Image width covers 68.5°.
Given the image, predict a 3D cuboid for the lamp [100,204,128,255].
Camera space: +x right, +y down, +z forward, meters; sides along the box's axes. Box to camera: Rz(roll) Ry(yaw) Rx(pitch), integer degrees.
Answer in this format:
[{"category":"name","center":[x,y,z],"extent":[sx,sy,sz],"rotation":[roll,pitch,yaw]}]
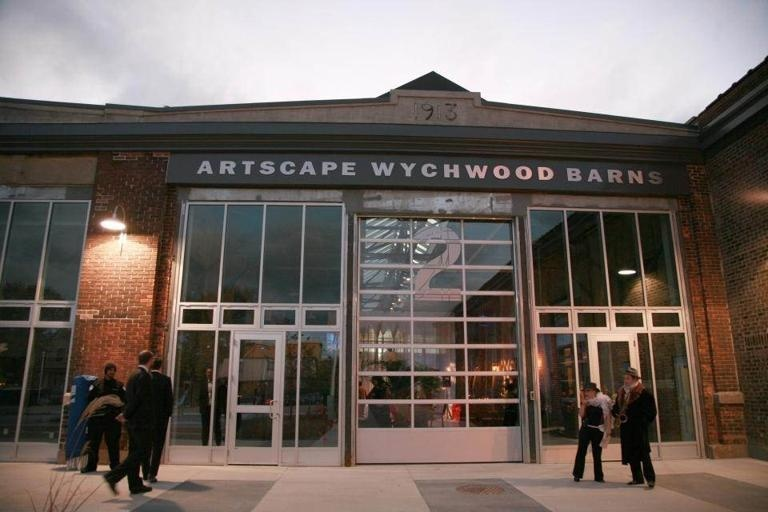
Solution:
[{"category":"lamp","center":[-7.573,-0.708,15.833],"extent":[0.624,1.401,1.004],"rotation":[0,1,-23]}]

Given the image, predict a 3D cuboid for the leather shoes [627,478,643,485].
[{"category":"leather shoes","center":[6.107,5.516,13.715],"extent":[0.439,0.160,0.141],"rotation":[4,-24,0]}]

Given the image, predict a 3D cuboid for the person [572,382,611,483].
[{"category":"person","center":[5.173,4.400,13.994],"extent":[0.908,2.396,0.460],"rotation":[0,0,14]}]

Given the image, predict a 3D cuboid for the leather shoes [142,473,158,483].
[{"category":"leather shoes","center":[-5.598,5.346,13.518],"extent":[0.210,0.195,0.471],"rotation":[7,-11,2]}]

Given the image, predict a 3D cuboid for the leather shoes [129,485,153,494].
[{"category":"leather shoes","center":[-5.520,5.320,12.758],"extent":[0.507,0.216,0.179],"rotation":[6,-6,-25]}]

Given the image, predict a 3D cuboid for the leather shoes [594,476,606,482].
[{"category":"leather shoes","center":[5.314,5.503,13.890],"extent":[0.134,0.160,0.177],"rotation":[10,-17,-41]}]

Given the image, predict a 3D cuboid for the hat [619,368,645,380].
[{"category":"hat","center":[6.560,3.157,14.990],"extent":[0.650,0.269,0.726],"rotation":[2,-22,20]}]

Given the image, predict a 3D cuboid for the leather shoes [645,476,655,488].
[{"category":"leather shoes","center":[6.373,5.431,13.516],"extent":[0.215,0.213,0.213],"rotation":[8,-14,-36]}]

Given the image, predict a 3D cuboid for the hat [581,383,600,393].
[{"category":"hat","center":[5.391,3.481,14.795],"extent":[0.582,0.203,0.659],"rotation":[0,-16,8]}]
